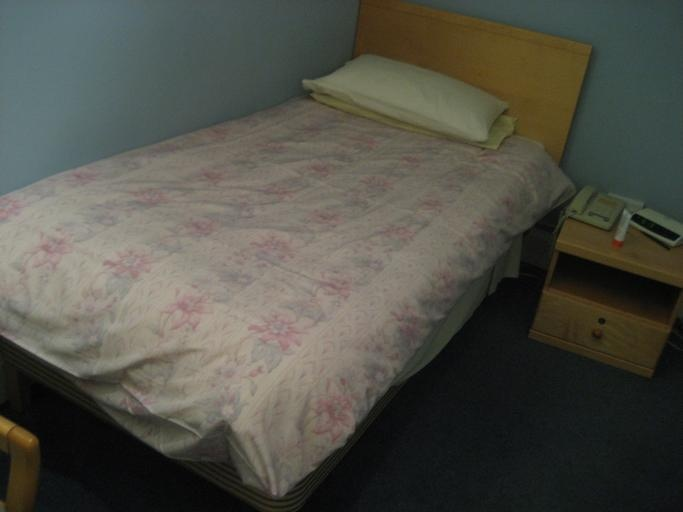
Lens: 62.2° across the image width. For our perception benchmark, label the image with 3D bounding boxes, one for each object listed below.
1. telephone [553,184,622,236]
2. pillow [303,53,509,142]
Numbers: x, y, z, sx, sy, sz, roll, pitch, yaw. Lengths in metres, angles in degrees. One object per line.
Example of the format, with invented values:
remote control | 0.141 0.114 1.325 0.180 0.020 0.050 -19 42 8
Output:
telephone | 1.156 -0.218 2.649 0.222 0.097 0.242 18 53 23
pillow | 0.358 -0.817 2.897 0.831 0.183 0.520 23 40 18
